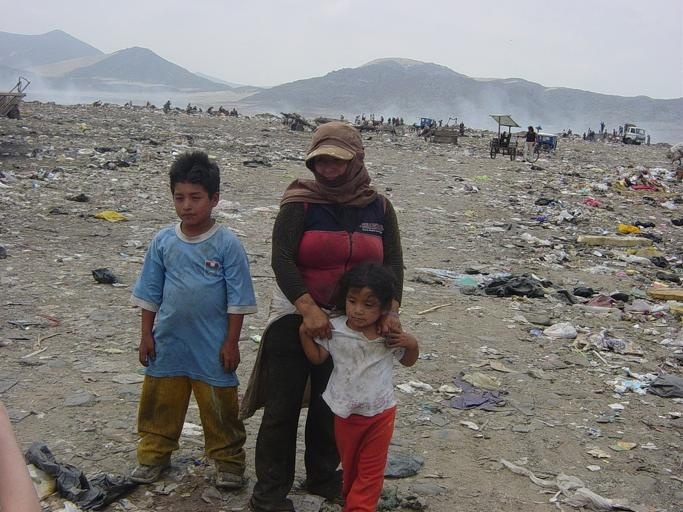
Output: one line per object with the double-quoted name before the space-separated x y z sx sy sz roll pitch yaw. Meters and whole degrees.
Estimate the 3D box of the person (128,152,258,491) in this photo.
"person" -0.776 0.346 2.907 0.664 1.790 0.247 5 6 -7

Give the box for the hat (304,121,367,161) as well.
"hat" -0.024 -0.569 2.794 0.242 0.116 0.275 -1 -1 18
